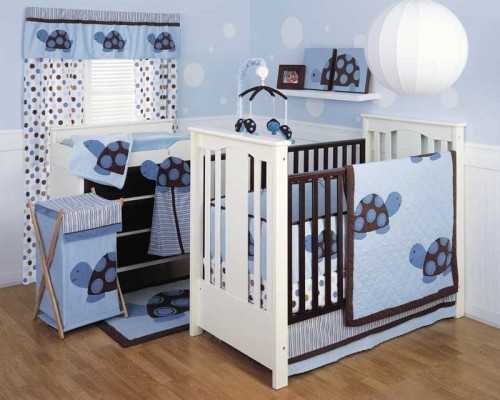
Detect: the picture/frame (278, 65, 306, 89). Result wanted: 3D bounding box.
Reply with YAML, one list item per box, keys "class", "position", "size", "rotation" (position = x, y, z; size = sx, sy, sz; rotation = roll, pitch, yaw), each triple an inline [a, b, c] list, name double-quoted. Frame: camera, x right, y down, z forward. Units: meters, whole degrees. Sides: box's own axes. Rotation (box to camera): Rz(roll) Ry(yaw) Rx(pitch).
- class: "picture/frame"
  position: [0.324, -0.994, 3.859]
  size: [0.084, 0.190, 0.284]
  rotation: [-9, 17, -35]

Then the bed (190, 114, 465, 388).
- class: "bed"
  position: [0.531, 0.213, 2.920]
  size: [1.408, 1.226, 0.850]
  rotation: [-6, 7, -33]

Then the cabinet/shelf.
- class: "cabinet/shelf"
  position: [-0.848, 0.002, 3.134]
  size: [0.916, 1.121, 0.519]
  rotation: [-5, 5, -40]

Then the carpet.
- class: "carpet"
  position: [-0.691, 0.735, 3.146]
  size: [0.563, 0.026, 0.849]
  rotation: [-3, 15, -8]
